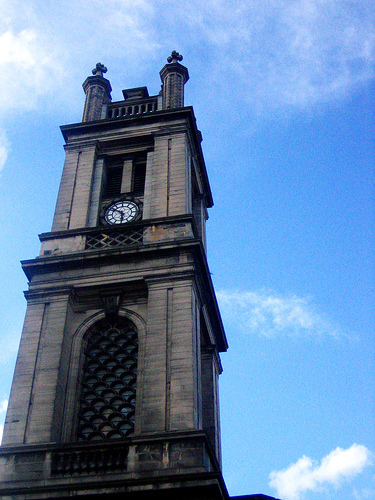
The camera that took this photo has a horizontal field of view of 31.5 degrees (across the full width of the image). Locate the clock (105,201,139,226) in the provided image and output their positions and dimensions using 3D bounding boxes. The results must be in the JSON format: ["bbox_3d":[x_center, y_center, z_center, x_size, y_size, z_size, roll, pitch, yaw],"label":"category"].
[{"bbox_3d":[-2.942,-1.629,30.088,1.468,1.576,0.095,-20,-61,-2],"label":"clock"}]
